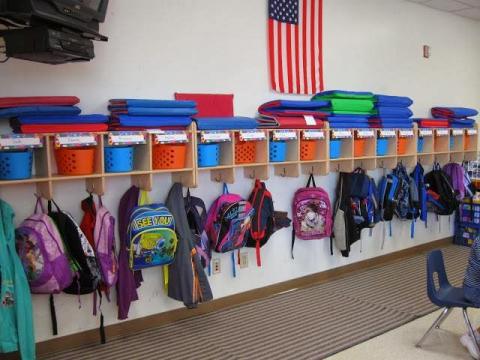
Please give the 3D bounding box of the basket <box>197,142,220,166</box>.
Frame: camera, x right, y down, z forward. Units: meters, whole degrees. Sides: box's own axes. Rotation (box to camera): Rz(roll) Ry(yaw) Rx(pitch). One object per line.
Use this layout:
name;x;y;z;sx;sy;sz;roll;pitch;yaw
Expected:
basket;-0.288;-0.228;3.627;0.113;0.209;0.206;5;10;31

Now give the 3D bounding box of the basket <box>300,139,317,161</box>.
basket;0.694;-0.313;4.160;0.200;0.219;0.163;-1;4;-1

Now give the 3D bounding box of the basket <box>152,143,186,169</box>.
basket;-0.632;-0.197;3.478;0.253;0.194;0.263;9;-18;-40

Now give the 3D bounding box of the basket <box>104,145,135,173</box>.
basket;-0.980;-0.162;3.183;0.189;0.172;0.197;1;0;-19

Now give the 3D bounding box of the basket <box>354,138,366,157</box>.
basket;1.380;-0.371;4.570;0.199;0.206;0.046;1;4;-41

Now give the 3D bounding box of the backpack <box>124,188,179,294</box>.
backpack;-0.770;0.627;3.590;0.444;0.934;0.579;7;19;5

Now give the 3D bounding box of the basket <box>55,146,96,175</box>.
basket;-1.295;-0.144;3.080;0.234;0.172;0.206;0;-1;-5

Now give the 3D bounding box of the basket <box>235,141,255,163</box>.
basket;0.024;-0.279;3.895;0.158;0.226;0.295;7;8;40

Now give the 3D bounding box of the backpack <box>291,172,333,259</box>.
backpack;0.816;0.431;4.477;0.453;1.020;0.205;-2;17;14
